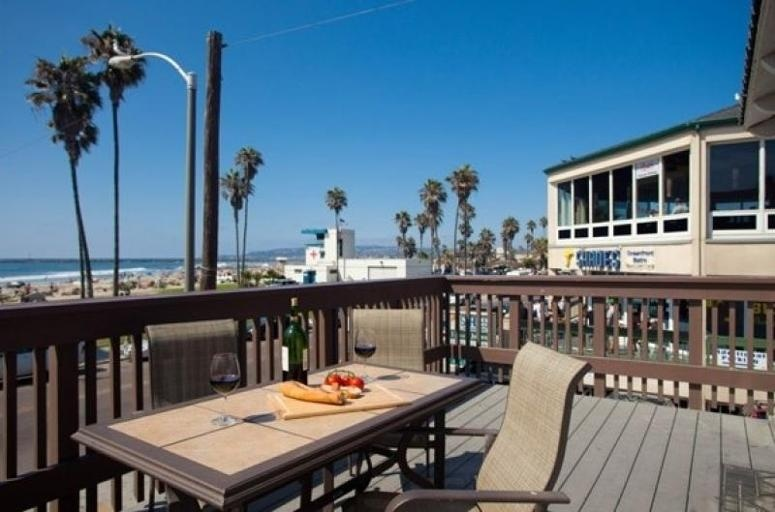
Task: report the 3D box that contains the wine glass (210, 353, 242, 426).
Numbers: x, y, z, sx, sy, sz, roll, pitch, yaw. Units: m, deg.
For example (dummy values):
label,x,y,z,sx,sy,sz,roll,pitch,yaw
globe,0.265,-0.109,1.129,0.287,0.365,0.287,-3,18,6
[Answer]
label,x,y,z,sx,sy,sz,roll,pitch,yaw
wine glass,-1.161,0.934,4.194,0.196,0.548,0.182,3,-6,-35

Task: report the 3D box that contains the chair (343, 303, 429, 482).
label,x,y,z,sx,sy,sz,roll,pitch,yaw
chair,0.029,0.921,5.320,0.711,0.771,0.553,1,-2,-15
